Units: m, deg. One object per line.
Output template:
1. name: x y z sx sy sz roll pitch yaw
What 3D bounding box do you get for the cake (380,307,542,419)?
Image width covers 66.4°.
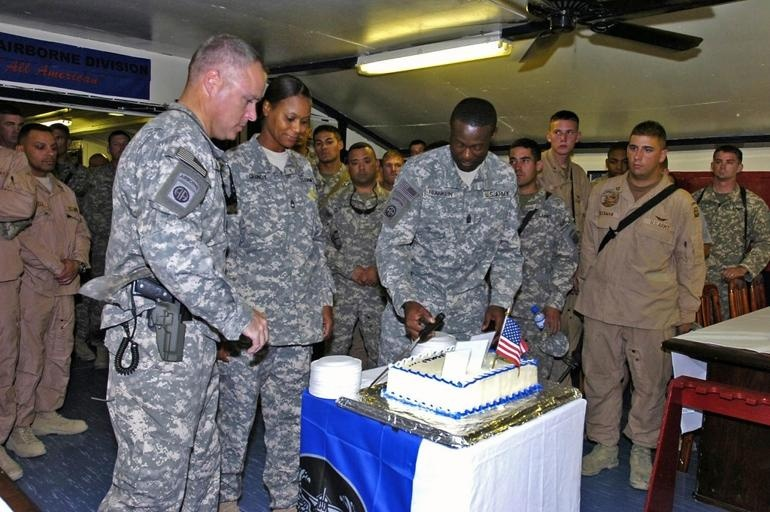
1. cake: 0.466 0.626 3.385 0.505 0.386 0.843 5 4 40

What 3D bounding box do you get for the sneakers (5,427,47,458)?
1. sneakers: -2.904 1.497 4.834 0.407 0.174 0.162 6 10 28

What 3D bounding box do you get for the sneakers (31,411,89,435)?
1. sneakers: -2.740 1.445 5.099 0.494 0.214 0.160 0 10 -15

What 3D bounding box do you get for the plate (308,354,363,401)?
1. plate: -0.276 0.661 3.196 0.242 0.146 0.233 3 -1 14
